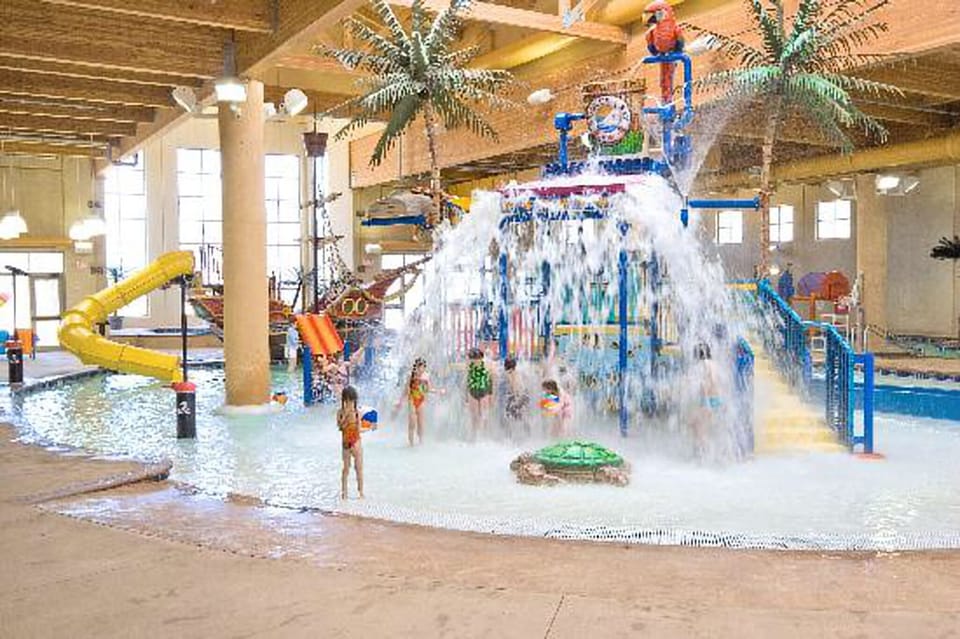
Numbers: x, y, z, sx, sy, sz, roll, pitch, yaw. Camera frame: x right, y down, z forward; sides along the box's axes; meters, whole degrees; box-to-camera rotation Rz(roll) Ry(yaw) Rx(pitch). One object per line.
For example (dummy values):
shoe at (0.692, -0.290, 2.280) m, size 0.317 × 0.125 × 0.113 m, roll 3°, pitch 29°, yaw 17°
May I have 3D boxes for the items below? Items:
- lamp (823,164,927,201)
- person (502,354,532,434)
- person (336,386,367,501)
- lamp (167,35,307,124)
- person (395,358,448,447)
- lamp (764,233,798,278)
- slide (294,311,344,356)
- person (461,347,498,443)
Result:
lamp at (11.359, -3.968, 19.337) m, size 1.754 × 0.432 × 1.795 m, roll -2°, pitch 2°, yaw 30°
person at (0.572, 1.170, 10.570) m, size 0.393 × 0.939 × 0.610 m, roll -1°, pitch 0°, yaw 3°
person at (-1.504, 1.418, 7.919) m, size 0.261 × 1.177 × 0.450 m, roll -1°, pitch 1°, yaw -12°
lamp at (-4.355, -4.183, 12.487) m, size 1.995 × 1.250 × 1.651 m, roll -7°, pitch 8°, yaw -37°
person at (-0.950, 1.255, 10.854) m, size 0.651 × 1.152 × 1.464 m, roll -1°, pitch 0°, yaw -3°
lamp at (11.469, -2.461, 25.823) m, size 0.509 × 1.613 × 1.198 m, roll -1°, pitch 0°, yaw -9°
slide at (-3.370, 0.324, 14.106) m, size 0.264 × 0.861 × 0.914 m, roll -40°, pitch -17°, yaw 35°
person at (0.040, 1.141, 10.511) m, size 0.483 × 1.138 × 0.435 m, roll -1°, pitch 1°, yaw -16°
